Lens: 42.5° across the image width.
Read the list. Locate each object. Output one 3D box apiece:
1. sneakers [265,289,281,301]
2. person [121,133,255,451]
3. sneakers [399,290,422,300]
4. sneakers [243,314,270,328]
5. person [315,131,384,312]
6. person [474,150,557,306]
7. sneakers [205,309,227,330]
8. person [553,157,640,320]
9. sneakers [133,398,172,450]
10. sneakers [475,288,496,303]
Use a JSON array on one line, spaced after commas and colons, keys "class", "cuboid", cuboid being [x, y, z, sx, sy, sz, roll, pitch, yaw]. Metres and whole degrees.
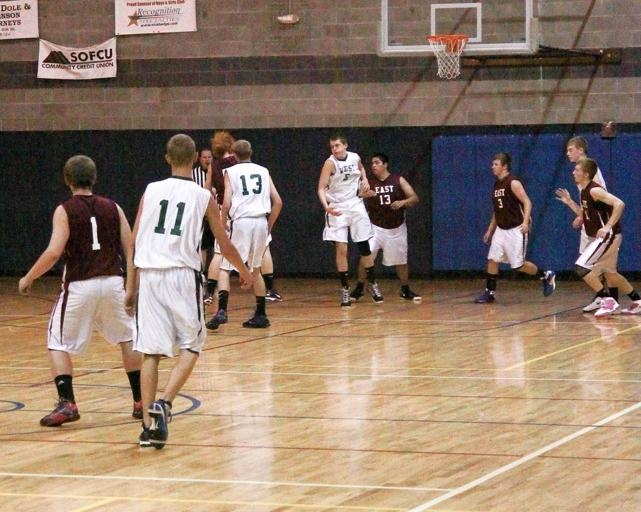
[{"class": "sneakers", "cuboid": [-0.622, 0.526, 10.931, 0.101, 0.111, 0.216, -3, 10, -41]}, {"class": "person", "cuboid": [-0.838, 0.104, 4.806, 0.411, 1.582, 0.550, 8, 11, 44]}, {"class": "sneakers", "cuboid": [1.204, 0.492, 10.853, 0.259, 0.175, 0.339, 2, 9, 5]}, {"class": "sneakers", "cuboid": [-0.647, 0.695, 8.702, 0.311, 0.185, 0.113, 4, -3, -1]}, {"class": "person", "cuboid": [0.322, -0.414, 10.220, 0.932, 2.152, 0.452, -5, 10, -35]}, {"class": "person", "cuboid": [2.511, -0.348, 10.814, 0.869, 1.971, 1.536, 2, 9, 11]}, {"class": "sneakers", "cuboid": [-1.072, 0.676, 8.709, 0.098, 0.157, 0.338, 14, 2, 13]}, {"class": "person", "cuboid": [3.111, -0.188, 9.057, 0.878, 1.728, 1.196, 3, 9, 16]}, {"class": "sneakers", "cuboid": [-0.924, 0.925, 4.579, 0.117, 0.353, 0.150, 4, 39, 4]}, {"class": "sneakers", "cuboid": [2.050, 0.529, 10.494, 0.338, 0.244, 0.137, 0, -1, -7]}]
